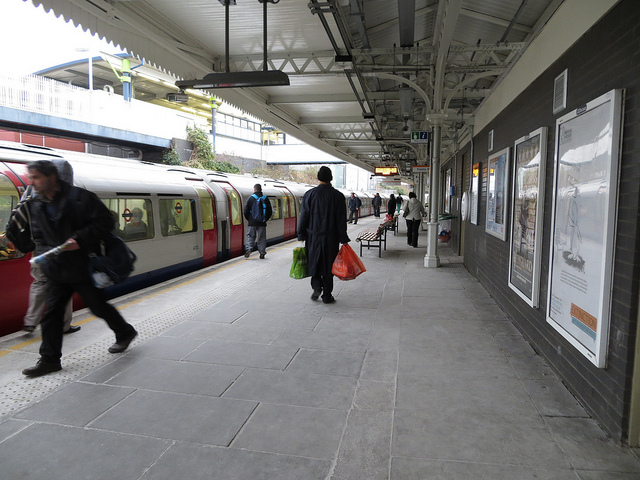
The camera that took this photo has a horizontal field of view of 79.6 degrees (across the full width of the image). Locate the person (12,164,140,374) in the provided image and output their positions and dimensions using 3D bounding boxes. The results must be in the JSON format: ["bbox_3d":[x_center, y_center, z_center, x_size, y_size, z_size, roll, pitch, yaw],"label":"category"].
[{"bbox_3d":[-2.559,0.255,4.042,1.267,2.119,1.034,-7,3,-31],"label":"person"}]

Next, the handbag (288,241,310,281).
[{"bbox_3d":[-0.333,0.358,6.487,0.296,0.619,0.352,1,0,-14],"label":"handbag"}]

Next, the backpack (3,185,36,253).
[{"bbox_3d":[-3.112,-0.204,4.007,0.251,0.725,0.426,-8,12,-41],"label":"backpack"}]

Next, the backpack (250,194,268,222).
[{"bbox_3d":[-1.543,-0.797,9.845,0.413,0.711,0.277,-2,9,-13],"label":"backpack"}]

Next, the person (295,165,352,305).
[{"bbox_3d":[0.061,-0.073,6.409,0.863,2.258,0.530,0,9,-2],"label":"person"}]

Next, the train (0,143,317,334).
[{"bbox_3d":[-1.993,-0.802,13.386,2.462,3.086,17.308,1,4,21],"label":"train"}]
